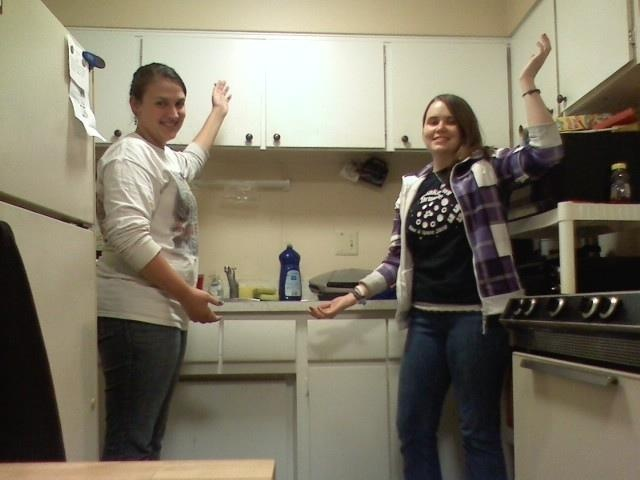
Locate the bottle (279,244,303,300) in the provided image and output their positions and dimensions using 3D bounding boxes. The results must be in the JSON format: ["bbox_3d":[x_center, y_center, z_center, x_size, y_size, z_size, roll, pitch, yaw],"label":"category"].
[{"bbox_3d":[-0.155,0.166,2.769,0.122,0.277,0.351,-1,2,-2],"label":"bottle"}]

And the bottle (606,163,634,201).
[{"bbox_3d":[1.033,-0.198,1.823,0.074,0.134,0.069,-1,2,0],"label":"bottle"}]

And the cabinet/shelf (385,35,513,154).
[{"bbox_3d":[0.612,-0.696,2.572,0.614,0.610,0.233,0,-10,-1],"label":"cabinet/shelf"}]

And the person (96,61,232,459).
[{"bbox_3d":[-0.559,0.066,1.853,0.410,1.401,0.958,-1,2,-15],"label":"person"}]
